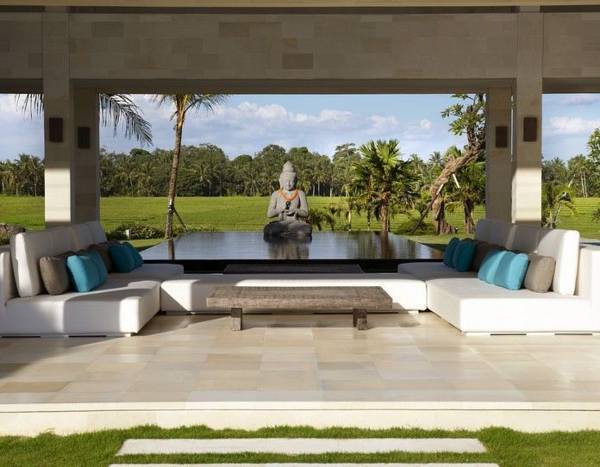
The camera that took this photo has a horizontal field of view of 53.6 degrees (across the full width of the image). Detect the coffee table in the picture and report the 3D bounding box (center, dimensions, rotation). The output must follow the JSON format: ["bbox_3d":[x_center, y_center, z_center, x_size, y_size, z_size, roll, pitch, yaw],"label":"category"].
[{"bbox_3d":[-0.001,0.798,6.432,1.892,0.425,0.822,0,11,1],"label":"coffee table"}]

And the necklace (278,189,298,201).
[{"bbox_3d":[-0.199,-0.733,11.599,0.389,0.187,0.249,-1,11,-3],"label":"necklace"}]

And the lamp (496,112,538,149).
[{"bbox_3d":[3.708,-1.695,10.112,0.343,0.560,0.858,-2,11,-11],"label":"lamp"}]

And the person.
[{"bbox_3d":[-0.235,-0.632,11.614,0.927,1.435,0.981,-1,11,-3],"label":"person"}]
